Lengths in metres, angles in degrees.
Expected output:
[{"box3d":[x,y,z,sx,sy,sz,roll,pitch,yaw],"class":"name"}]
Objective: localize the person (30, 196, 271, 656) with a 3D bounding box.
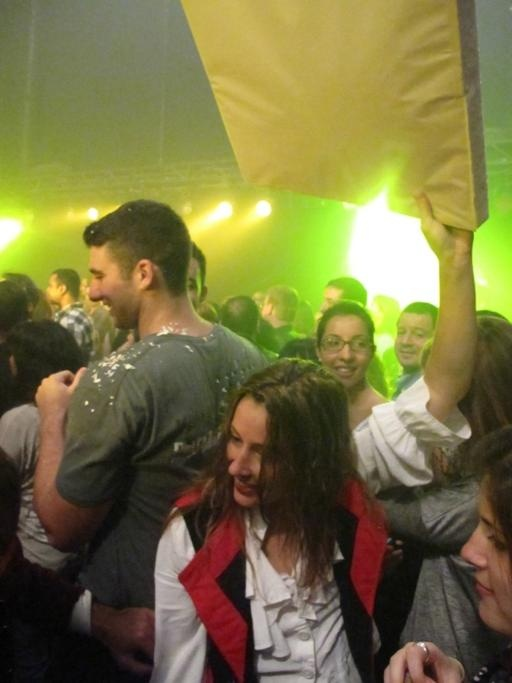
[{"box3d":[-0.325,0.520,1.787,0.675,1.742,0.499,-7,17,-40],"class":"person"}]
